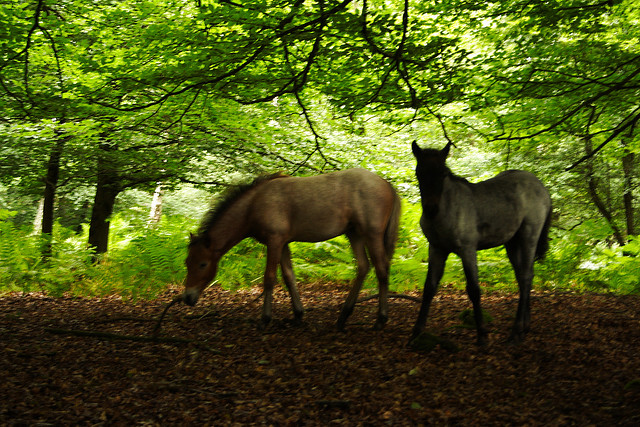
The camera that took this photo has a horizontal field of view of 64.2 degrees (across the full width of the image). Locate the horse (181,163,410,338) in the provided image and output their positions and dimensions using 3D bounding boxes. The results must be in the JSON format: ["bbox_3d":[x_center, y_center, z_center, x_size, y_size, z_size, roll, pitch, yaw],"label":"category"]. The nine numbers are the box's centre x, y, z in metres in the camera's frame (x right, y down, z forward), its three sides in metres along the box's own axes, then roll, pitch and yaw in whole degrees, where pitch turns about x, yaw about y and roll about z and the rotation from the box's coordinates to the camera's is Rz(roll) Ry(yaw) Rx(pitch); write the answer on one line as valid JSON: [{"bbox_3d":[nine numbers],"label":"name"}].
[{"bbox_3d":[-0.370,0.537,8.224,1.403,2.500,4.716,-26,-15,40],"label":"horse"}]

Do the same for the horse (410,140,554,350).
[{"bbox_3d":[2.368,0.409,7.430,1.734,2.703,2.413,6,6,20],"label":"horse"}]
